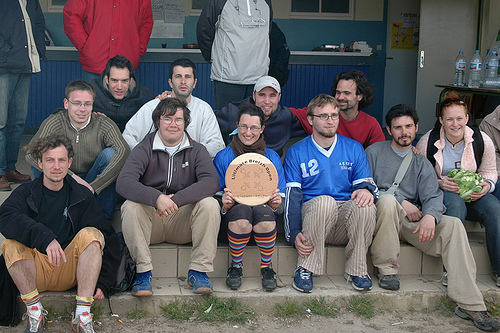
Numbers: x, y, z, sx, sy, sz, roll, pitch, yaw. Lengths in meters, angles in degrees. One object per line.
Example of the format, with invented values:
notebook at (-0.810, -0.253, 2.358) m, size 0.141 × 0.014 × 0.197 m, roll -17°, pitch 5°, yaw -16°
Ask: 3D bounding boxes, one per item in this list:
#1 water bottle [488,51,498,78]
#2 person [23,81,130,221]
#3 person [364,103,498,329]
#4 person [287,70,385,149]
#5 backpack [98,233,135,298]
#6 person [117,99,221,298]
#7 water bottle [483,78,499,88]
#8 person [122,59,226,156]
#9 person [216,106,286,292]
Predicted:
water bottle at (3.663, -1.535, 6.486) m, size 0.128 × 0.395 × 0.169 m, roll 5°, pitch 8°, yaw 28°
person at (-1.781, -0.118, 4.364) m, size 1.010 × 1.385 × 0.776 m, roll -2°, pitch 15°, yaw -32°
person at (1.705, 0.395, 4.264) m, size 1.139 × 1.996 × 0.777 m, roll 3°, pitch 7°, yaw 15°
person at (1.144, -0.605, 5.055) m, size 1.557 × 0.875 × 0.444 m, roll 18°, pitch 22°, yaw 36°
backpack at (-1.216, 0.910, 3.913) m, size 0.185 × 0.502 × 0.389 m, roll 0°, pitch -8°, yaw 21°
person at (-0.763, 0.279, 4.036) m, size 0.931 × 1.819 × 0.642 m, roll -1°, pitch 8°, yaw -18°
water bottle at (3.597, -1.250, 6.413) m, size 0.202 × 0.150 × 0.211 m, roll 1°, pitch 7°, yaw 0°
person at (-0.795, -0.600, 4.741) m, size 1.209 × 1.050 × 0.907 m, roll 1°, pitch 12°, yaw -9°
person at (0.004, 0.278, 4.275) m, size 0.697 × 1.748 × 0.664 m, roll 1°, pitch 7°, yaw 3°
